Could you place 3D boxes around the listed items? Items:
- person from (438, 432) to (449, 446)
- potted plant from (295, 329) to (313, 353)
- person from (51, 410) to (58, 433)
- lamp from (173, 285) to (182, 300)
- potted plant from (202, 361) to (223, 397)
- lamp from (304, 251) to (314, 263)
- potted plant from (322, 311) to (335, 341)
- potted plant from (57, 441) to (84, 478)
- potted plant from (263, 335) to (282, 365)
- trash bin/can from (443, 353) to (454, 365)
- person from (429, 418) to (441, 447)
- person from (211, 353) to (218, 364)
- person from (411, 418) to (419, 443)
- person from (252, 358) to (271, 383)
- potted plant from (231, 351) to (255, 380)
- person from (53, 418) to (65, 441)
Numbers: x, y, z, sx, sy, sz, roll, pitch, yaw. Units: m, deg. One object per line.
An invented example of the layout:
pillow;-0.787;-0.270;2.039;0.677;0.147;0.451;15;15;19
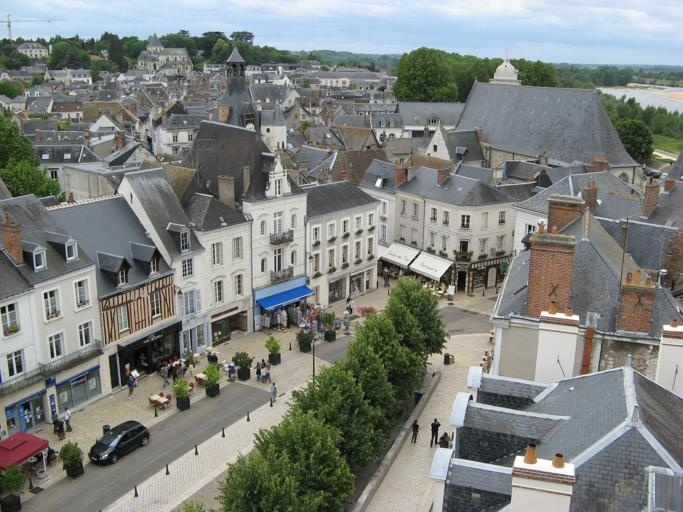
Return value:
person;6.151;11.017;46.833;0.502;1.131;0.427;24;43;33
potted plant;-2.752;6.402;58.382;1.275;1.733;1.507;1;9;3
person;-17.422;10.096;47.337;0.669;0.834;1.233;-4;19;-26
lamp;-11.463;2.493;54.718;0.522;0.760;0.764;-5;-23;35
potted plant;-8.670;8.342;52.518;1.319;2.142;1.308;18;29;37
lamp;-2.619;0.047;63.878;0.580;0.878;0.597;9;21;13
potted plant;-0.997;5.462;60.049;0.972;2.334;1.206;-20;32;-35
potted plant;-15.342;11.611;44.126;1.154;1.784;1.264;-11;23;-28
potted plant;-4.893;6.626;56.067;1.149;1.993;1.526;2;20;-6
trash bin/can;7.792;7.382;56.929;0.516;0.862;0.968;12;18;36
person;5.762;10.685;47.780;0.552;1.574;1.221;7;20;7
person;-8.948;7.201;54.950;0.540;1.007;0.315;-3;-11;14
person;4.545;10.808;48.162;0.422;1.157;1.067;7;20;8
person;-5.563;8.034;54.395;1.310;2.163;0.907;-3;1;-2
potted plant;-6.924;7.658;54.378;1.683;2.136;1.635;-2;9;-18
person;-17.079;10.291;46.953;0.543;0.759;1.239;-13;38;-31
